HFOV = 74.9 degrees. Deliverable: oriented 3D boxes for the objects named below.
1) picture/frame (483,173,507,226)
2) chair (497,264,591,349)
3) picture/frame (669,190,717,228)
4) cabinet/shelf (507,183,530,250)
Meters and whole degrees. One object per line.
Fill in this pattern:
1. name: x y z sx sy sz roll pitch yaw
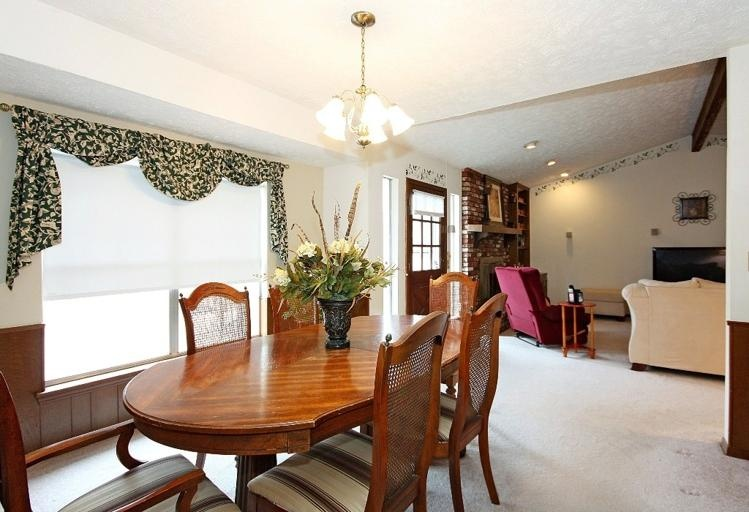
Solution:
1. picture/frame: 2.128 -1.030 8.736 0.077 0.670 0.817 -13 -22 30
2. chair: 2.294 0.650 6.927 0.861 1.113 1.397 -5 1 -1
3. picture/frame: 5.530 -0.832 8.454 0.642 0.655 0.046 2 -2 37
4. cabinet/shelf: 2.872 -0.783 9.725 0.316 1.159 0.946 -2 0 25
